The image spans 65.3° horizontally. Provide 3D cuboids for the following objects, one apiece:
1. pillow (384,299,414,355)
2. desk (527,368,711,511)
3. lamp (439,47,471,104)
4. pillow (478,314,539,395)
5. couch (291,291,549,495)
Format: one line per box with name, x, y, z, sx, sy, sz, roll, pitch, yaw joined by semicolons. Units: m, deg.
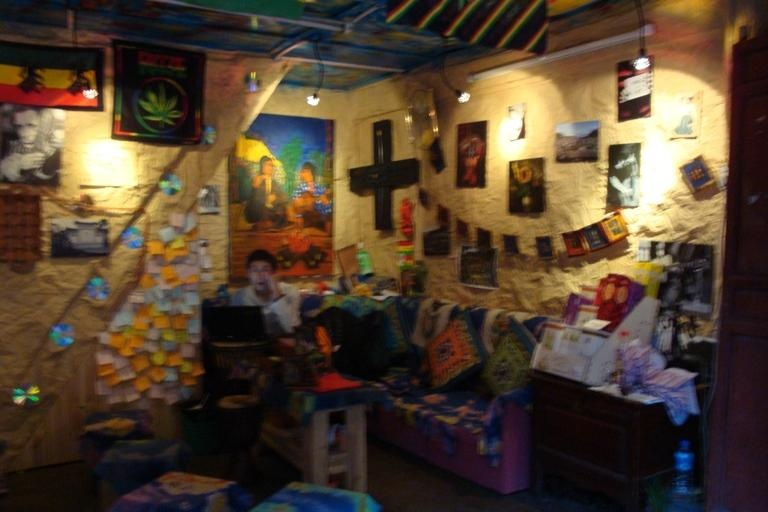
pillow;0.170;0.848;6.832;0.201;0.695;0.176;-28;-43;22
desk;1.983;1.457;5.379;1.120;1.169;1.492;-4;6;-42
lamp;0.841;-2.113;7.123;0.113;0.613;0.413;-3;4;-38
pillow;1.196;1.000;5.713;0.202;0.647;0.706;15;16;-24
couch;0.519;1.263;6.393;1.292;1.221;3.317;-17;10;-31
